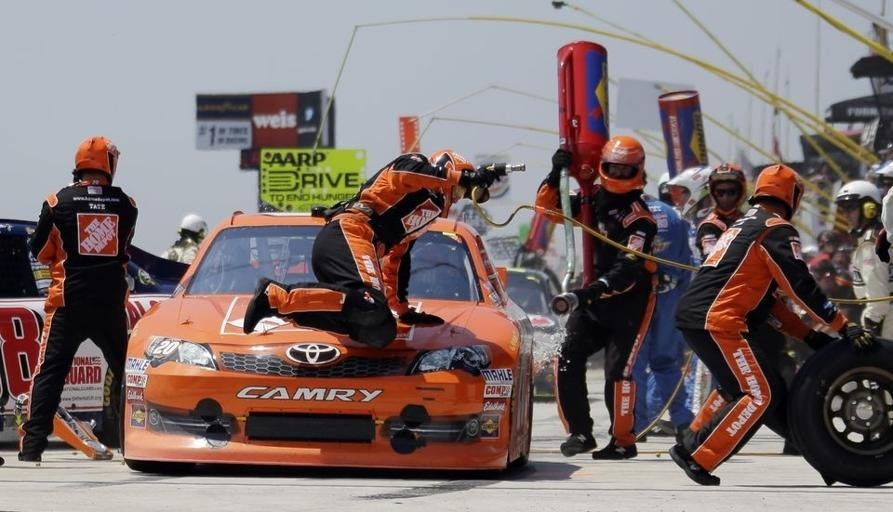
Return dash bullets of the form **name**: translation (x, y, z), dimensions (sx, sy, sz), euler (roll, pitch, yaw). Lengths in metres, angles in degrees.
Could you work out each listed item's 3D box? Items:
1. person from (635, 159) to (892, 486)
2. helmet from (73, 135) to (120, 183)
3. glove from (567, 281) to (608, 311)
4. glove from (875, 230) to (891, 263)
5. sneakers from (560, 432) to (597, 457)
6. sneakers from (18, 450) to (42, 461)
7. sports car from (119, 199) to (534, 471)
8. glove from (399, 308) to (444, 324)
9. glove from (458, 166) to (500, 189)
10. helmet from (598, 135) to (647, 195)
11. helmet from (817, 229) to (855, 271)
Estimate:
- **person**: translation (2.611, 0.558, 13.191), dimensions (1.496, 2.682, 0.705), euler (-1, -2, 7)
- **helmet**: translation (-3.221, -0.891, 14.450), dimensions (0.397, 0.360, 0.454), euler (-1, -17, 14)
- **glove**: translation (1.261, 0.334, 14.113), dimensions (0.427, 0.250, 0.205), euler (1, -3, -39)
- **glove**: translation (4.262, -0.095, 15.352), dimensions (0.130, 0.272, 0.221), euler (-1, -4, 9)
- **sneakers**: translation (1.268, 1.716, 14.233), dimensions (0.439, 0.127, 0.177), euler (-1, 11, 23)
- **sneakers**: translation (-3.679, 1.764, 13.825), dimensions (0.228, 0.102, 0.146), euler (-1, -2, 9)
- **sports car**: translation (-1.078, 0.445, 15.223), dimensions (3.506, 1.729, 5.084), euler (2, 10, 0)
- **glove**: translation (-0.206, 0.506, 13.372), dimensions (0.452, 0.136, 0.123), euler (0, 9, 7)
- **glove**: translation (0.293, -0.702, 13.558), dimensions (0.306, 0.102, 0.196), euler (-30, 41, -35)
- **helmet**: translation (1.621, -0.891, 14.574), dimensions (0.514, 0.416, 0.580), euler (8, 21, 8)
- **helmet**: translation (5.667, -0.083, 22.948), dimensions (0.436, 0.612, 0.541), euler (-9, -9, 22)
